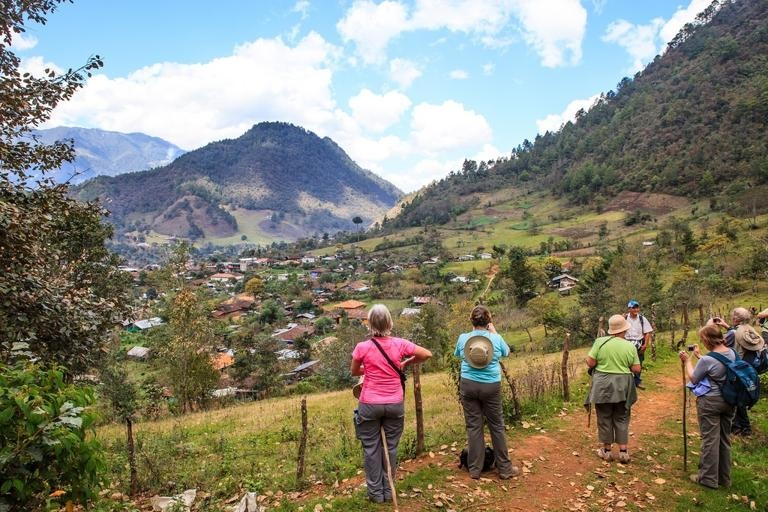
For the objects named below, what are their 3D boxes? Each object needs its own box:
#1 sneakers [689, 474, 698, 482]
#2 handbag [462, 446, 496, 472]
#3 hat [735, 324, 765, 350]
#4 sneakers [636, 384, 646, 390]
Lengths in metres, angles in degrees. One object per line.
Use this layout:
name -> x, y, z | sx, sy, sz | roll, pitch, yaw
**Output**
sneakers -> 9.030, 6.459, 16.508 | 0.149, 0.180, 0.202 | -6, -2, 25
handbag -> 2.837, 6.091, 16.961 | 0.817, 0.845, 0.596 | 1, -5, -30
hat -> 11.142, 2.501, 17.328 | 0.731, 0.824, 0.378 | -9, -7, 31
sneakers -> 9.601, 4.901, 21.173 | 0.222, 0.199, 0.473 | 4, -10, -29
